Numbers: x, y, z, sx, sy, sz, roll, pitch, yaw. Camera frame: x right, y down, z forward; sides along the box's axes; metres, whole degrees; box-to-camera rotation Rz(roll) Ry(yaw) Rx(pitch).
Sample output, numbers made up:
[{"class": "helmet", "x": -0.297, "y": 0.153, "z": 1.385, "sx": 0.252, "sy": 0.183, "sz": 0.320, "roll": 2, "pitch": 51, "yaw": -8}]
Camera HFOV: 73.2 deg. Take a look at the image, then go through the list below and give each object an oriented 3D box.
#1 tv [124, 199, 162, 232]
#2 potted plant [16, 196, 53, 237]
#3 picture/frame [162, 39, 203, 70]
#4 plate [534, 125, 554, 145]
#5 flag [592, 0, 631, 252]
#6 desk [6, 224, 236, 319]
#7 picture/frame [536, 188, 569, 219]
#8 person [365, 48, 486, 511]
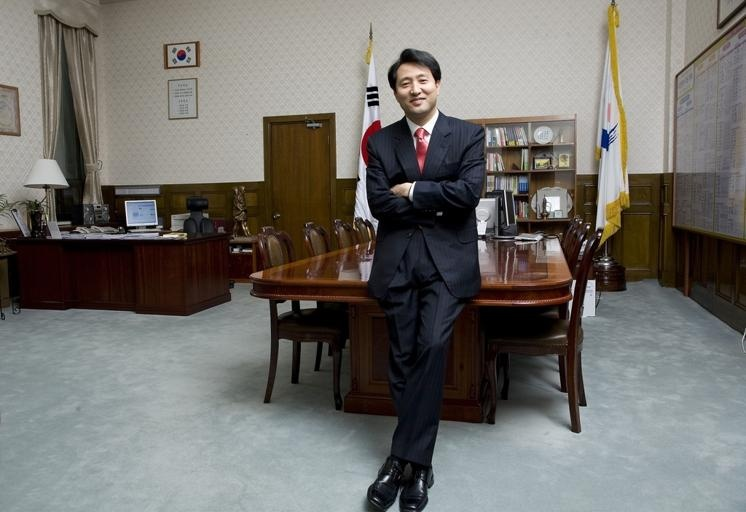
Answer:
[{"class": "tv", "x": -3.370, "y": -0.567, "z": 7.287, "sx": 0.178, "sy": 0.594, "sz": 0.550, "roll": -1, "pitch": -4, "yaw": -5}, {"class": "potted plant", "x": -4.607, "y": -0.525, "z": 6.754, "sx": 0.504, "sy": 0.591, "sz": 0.440, "roll": 1, "pitch": 7, "yaw": 5}, {"class": "picture/frame", "x": -3.198, "y": -3.371, "z": 8.439, "sx": 0.466, "sy": 0.369, "sz": 0.026, "roll": 1, "pitch": 2, "yaw": 9}, {"class": "plate", "x": 2.405, "y": -1.687, "z": 7.061, "sx": 0.280, "sy": 0.256, "sz": 0.114, "roll": 2, "pitch": 9, "yaw": 16}, {"class": "flag", "x": 3.344, "y": -1.819, "z": 6.904, "sx": 0.455, "sy": 3.387, "sz": 0.727, "roll": 3, "pitch": 9, "yaw": 25}, {"class": "desk", "x": -3.187, "y": 0.204, "z": 6.202, "sx": 2.345, "sy": 0.892, "sz": 0.539, "roll": 1, "pitch": 9, "yaw": 12}, {"class": "picture/frame", "x": 2.559, "y": -0.719, "z": 7.071, "sx": 0.371, "sy": 0.419, "sz": 0.027, "roll": 1, "pitch": -4, "yaw": 5}, {"class": "person", "x": 0.279, "y": 0.086, "z": 2.532, "sx": 0.609, "sy": 2.207, "sz": 0.614, "roll": -1, "pitch": 9, "yaw": 0}]
